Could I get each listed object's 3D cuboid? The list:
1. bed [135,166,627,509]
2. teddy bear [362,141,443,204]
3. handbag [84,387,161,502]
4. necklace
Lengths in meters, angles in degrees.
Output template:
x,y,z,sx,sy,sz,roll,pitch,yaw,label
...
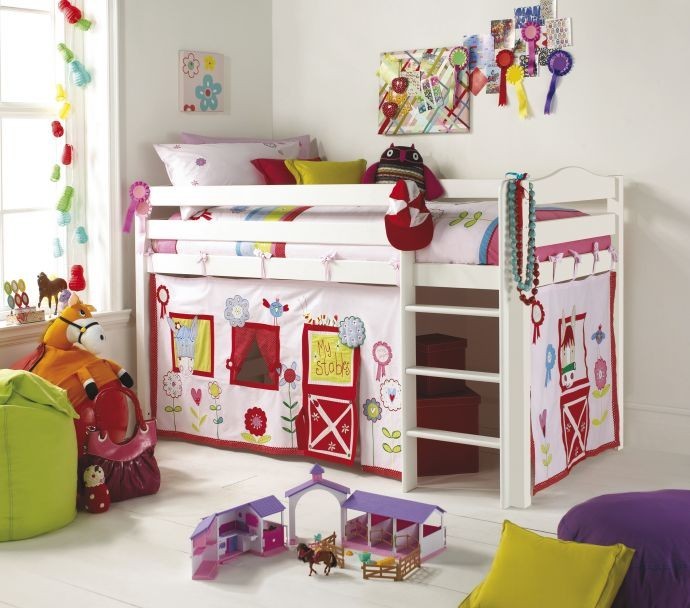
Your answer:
x,y,z,sx,sy,sz,roll,pitch,yaw,label
0.105,0.048,3.506,2.396,1.357,1.219,3,7,26,bed
0.305,-0.630,3.491,0.173,0.297,0.399,-6,23,-14,teddy bear
-0.908,0.585,2.830,0.182,0.540,0.373,-7,-7,35,handbag
0.687,-0.164,2.668,0.110,0.651,0.277,2,6,25,necklace
